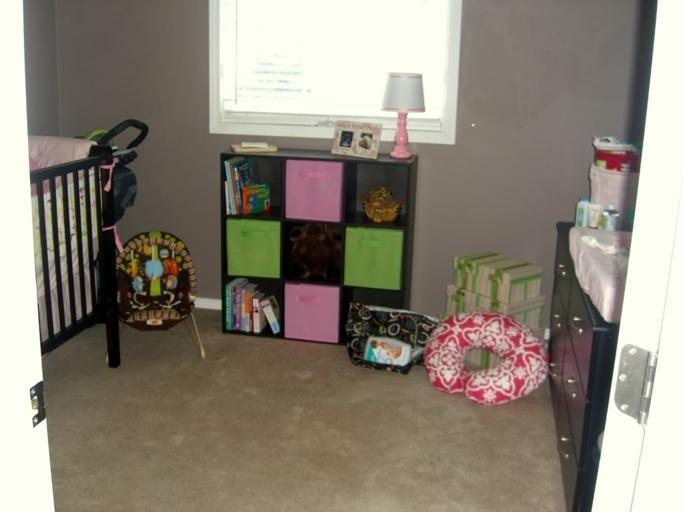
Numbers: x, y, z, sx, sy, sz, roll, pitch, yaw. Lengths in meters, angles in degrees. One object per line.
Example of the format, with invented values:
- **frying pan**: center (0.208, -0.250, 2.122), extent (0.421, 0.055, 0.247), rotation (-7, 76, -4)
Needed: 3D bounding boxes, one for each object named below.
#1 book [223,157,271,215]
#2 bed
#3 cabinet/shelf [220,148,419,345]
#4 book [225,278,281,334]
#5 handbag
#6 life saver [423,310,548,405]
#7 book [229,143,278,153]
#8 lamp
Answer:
- **book**: center (-0.628, -0.447, 3.823), extent (0.188, 0.380, 0.272), rotation (8, 19, 27)
- **bed**: center (-1.404, 0.082, 3.133), extent (0.283, 1.257, 0.626), rotation (0, 16, -1)
- **cabinet/shelf**: center (-0.169, -0.082, 3.907), extent (1.180, 1.259, 0.388), rotation (3, 19, 2)
- **book**: center (-0.581, 0.300, 4.060), extent (0.374, 0.397, 0.293), rotation (5, 14, 19)
- **handbag**: center (0.293, 0.498, 3.615), extent (0.576, 0.312, 0.295), rotation (3, 17, 9)
- **life saver**: center (0.796, 0.566, 3.295), extent (0.680, 0.405, 0.367), rotation (7, 18, 21)
- **book**: center (-0.568, -0.703, 3.816), extent (0.299, 0.056, 0.212), rotation (-3, 17, -10)
- **lamp**: center (0.395, -0.872, 3.676), extent (0.252, 0.509, 0.313), rotation (6, 17, 19)
